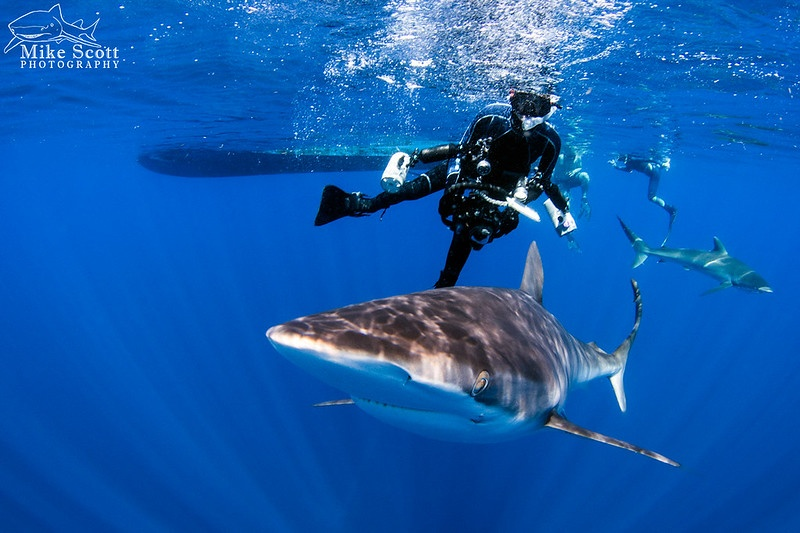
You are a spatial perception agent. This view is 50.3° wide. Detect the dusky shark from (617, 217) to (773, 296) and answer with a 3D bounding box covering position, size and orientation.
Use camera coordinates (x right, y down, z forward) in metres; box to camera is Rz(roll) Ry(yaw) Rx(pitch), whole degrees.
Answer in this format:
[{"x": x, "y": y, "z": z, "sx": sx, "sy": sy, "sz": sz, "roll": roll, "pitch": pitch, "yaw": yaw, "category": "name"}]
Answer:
[{"x": 7.743, "y": 0.003, "z": 21.479, "sx": 4.583, "sy": 1.208, "sz": 1.296, "roll": 15, "pitch": 15, "yaw": 14, "category": "dusky shark"}]
